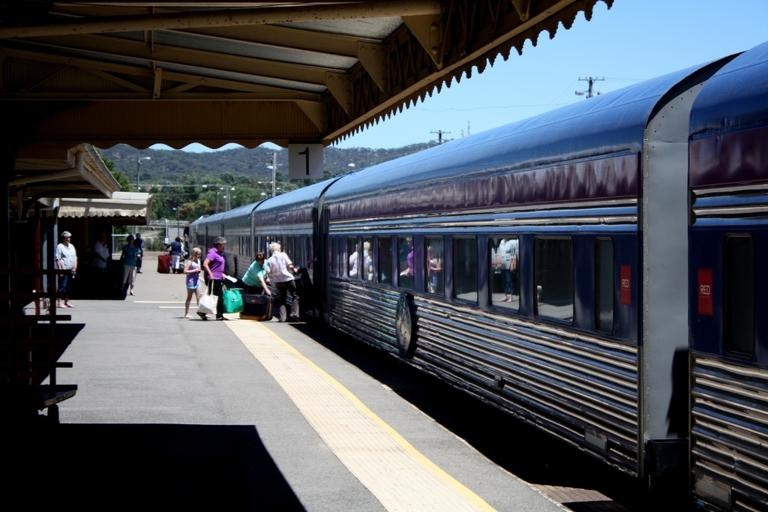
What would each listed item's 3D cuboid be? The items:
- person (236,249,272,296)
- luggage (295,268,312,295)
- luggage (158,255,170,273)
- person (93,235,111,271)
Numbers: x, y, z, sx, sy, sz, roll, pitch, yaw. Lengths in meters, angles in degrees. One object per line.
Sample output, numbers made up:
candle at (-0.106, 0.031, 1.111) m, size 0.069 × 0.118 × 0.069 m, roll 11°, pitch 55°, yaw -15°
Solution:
person at (-3.910, 0.475, 20.089) m, size 0.353 × 0.769 × 1.005 m, roll 23°, pitch -19°, yaw -21°
luggage at (-2.077, 0.653, 17.255) m, size 0.398 × 0.711 × 0.667 m, roll 1°, pitch 1°, yaw -8°
luggage at (-13.686, 0.473, 41.253) m, size 0.889 × 1.320 × 0.702 m, roll 2°, pitch -8°, yaw -11°
person at (-10.798, -0.155, 25.250) m, size 0.415 × 1.405 × 2.914 m, roll 1°, pitch 2°, yaw -21°
